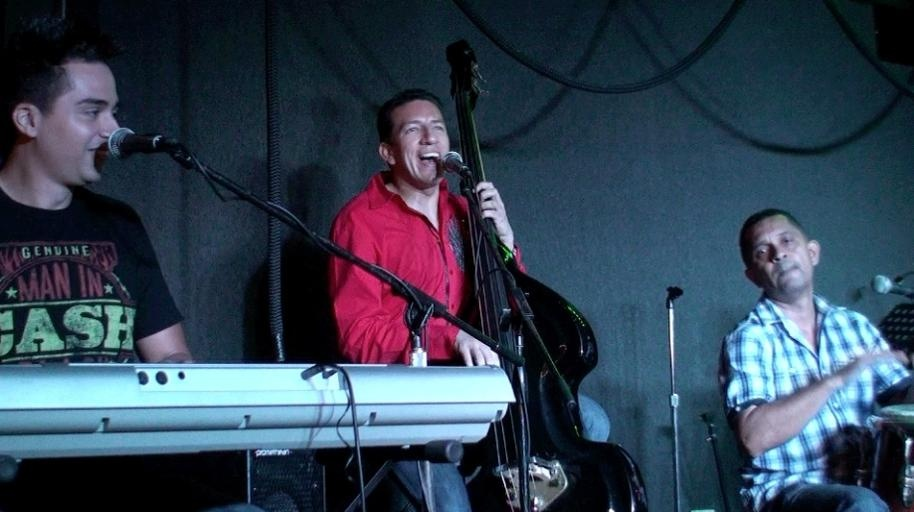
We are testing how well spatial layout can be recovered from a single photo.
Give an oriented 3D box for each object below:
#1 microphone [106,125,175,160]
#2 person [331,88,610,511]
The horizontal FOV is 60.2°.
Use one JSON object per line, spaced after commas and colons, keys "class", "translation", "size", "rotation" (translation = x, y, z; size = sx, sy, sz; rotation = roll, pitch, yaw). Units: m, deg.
{"class": "microphone", "translation": [-1.226, -0.462, 3.067], "size": [0.291, 0.136, 0.093], "rotation": [-9, -14, 26]}
{"class": "person", "translation": [-0.097, 0.150, 3.719], "size": [1.208, 2.215, 0.749], "rotation": [3, -19, -25]}
